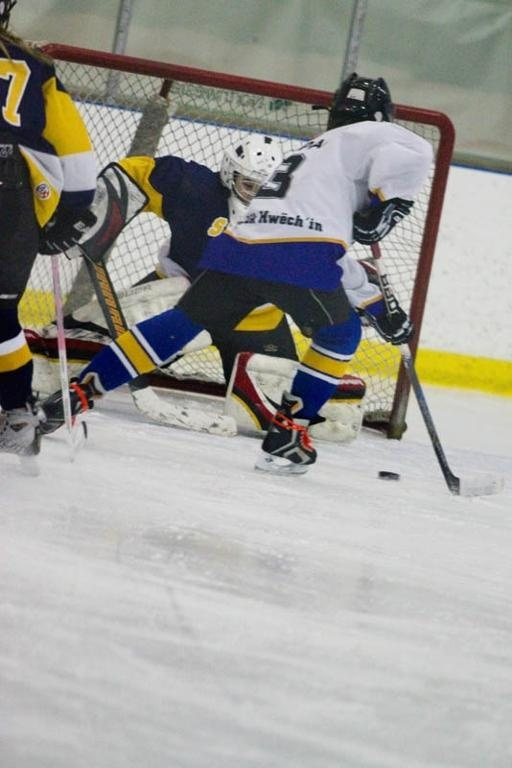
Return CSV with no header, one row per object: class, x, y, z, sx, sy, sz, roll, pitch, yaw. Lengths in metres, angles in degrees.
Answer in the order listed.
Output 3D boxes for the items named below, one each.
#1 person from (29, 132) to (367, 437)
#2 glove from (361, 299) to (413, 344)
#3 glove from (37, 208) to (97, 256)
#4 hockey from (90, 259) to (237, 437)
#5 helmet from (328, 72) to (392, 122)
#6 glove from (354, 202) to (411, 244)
person,-0.169,-0.310,2.197,1.022,0.917,0.608,9,0,-14
glove,0.377,-0.178,1.998,0.146,0.090,0.059,43,23,5
glove,-0.435,-0.348,1.651,0.094,0.139,0.032,52,15,-14
hockey,-0.255,-0.088,1.985,0.248,0.271,0.666,-8,56,-30
helmet,0.255,-0.677,1.731,0.148,0.141,0.149,13,26,15
glove,0.292,-0.375,1.676,0.071,0.121,0.047,59,30,-1
